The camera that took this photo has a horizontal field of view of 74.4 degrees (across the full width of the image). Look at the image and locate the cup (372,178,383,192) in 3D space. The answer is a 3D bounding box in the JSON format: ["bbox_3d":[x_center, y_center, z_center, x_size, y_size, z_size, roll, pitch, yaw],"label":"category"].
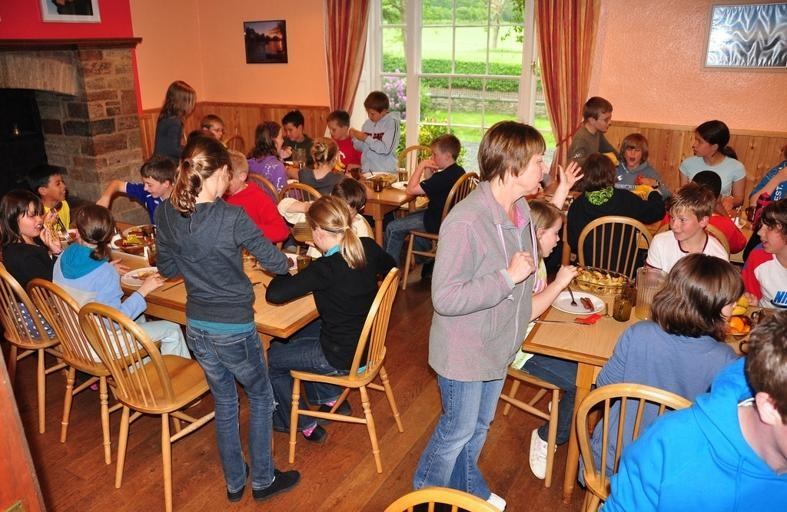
[{"bbox_3d":[-0.143,-0.697,5.115,0.114,0.130,0.115,0,1,0],"label":"cup"}]

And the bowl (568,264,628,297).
[{"bbox_3d":[1.243,0.160,3.144,0.254,0.084,0.186,13,26,37],"label":"bowl"}]

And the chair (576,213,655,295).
[{"bbox_3d":[1.458,-0.016,3.443,0.392,0.688,0.432,6,17,25],"label":"chair"}]

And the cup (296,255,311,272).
[{"bbox_3d":[-0.575,0.054,3.307,0.105,0.109,0.109,2,6,0],"label":"cup"}]

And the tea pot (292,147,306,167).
[{"bbox_3d":[-1.020,-1.073,5.714,0.149,0.240,0.236,4,17,3],"label":"tea pot"}]

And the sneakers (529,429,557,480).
[{"bbox_3d":[0.900,1.209,3.149,0.090,0.271,0.114,7,-8,-15],"label":"sneakers"}]

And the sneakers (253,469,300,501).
[{"bbox_3d":[-0.670,1.338,3.033,0.117,0.111,0.263,13,20,40],"label":"sneakers"}]

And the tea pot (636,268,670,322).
[{"bbox_3d":[1.420,0.224,2.893,0.218,0.270,0.171,12,-4,-35],"label":"tea pot"}]

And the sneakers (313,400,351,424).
[{"bbox_3d":[-0.411,1.040,3.516,0.264,0.112,0.115,-3,8,-35],"label":"sneakers"}]

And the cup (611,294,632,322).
[{"bbox_3d":[1.258,0.294,2.869,0.102,0.178,0.097,-2,19,1],"label":"cup"}]

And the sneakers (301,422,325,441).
[{"bbox_3d":[-0.515,1.140,3.363,0.152,0.065,0.086,12,26,26],"label":"sneakers"}]

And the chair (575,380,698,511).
[{"bbox_3d":[1.082,0.957,2.426,0.418,0.861,0.329,13,22,36],"label":"chair"}]

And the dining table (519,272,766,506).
[{"bbox_3d":[1.260,0.563,3.302,1.096,1.341,1.438,5,27,12],"label":"dining table"}]

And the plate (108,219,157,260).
[{"bbox_3d":[-1.898,-0.117,3.858,0.398,0.097,0.383,11,20,18],"label":"plate"}]

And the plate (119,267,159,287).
[{"bbox_3d":[-1.653,0.136,3.388,0.187,0.032,0.187,-19,35,-28],"label":"plate"}]

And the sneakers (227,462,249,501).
[{"bbox_3d":[-0.895,1.325,3.067,0.076,0.097,0.224,5,30,8],"label":"sneakers"}]
